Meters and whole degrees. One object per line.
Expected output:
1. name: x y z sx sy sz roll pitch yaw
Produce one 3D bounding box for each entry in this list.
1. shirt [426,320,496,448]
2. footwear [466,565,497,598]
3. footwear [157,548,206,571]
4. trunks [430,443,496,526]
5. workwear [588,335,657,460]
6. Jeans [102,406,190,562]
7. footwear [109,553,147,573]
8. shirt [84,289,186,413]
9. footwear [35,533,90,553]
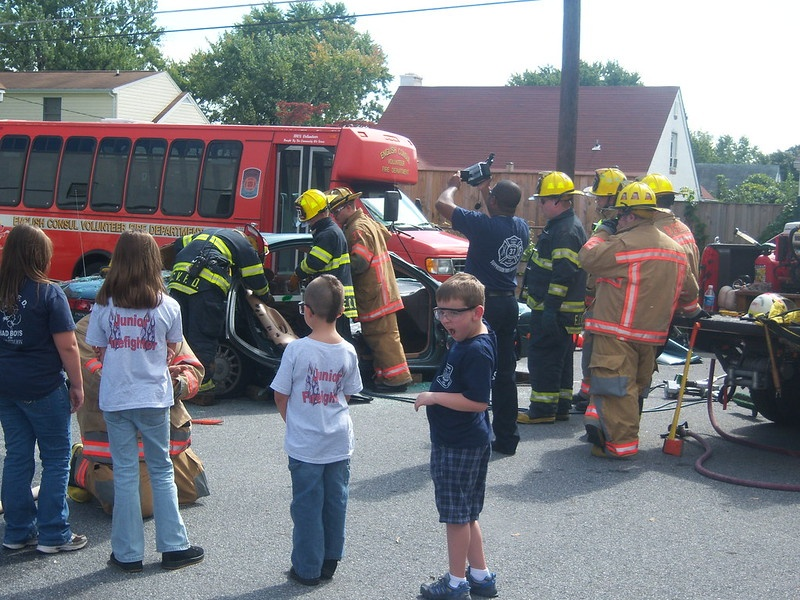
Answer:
1. shirt: 0.363 0.549 5.418 0.397 0.649 0.682 0 4 -14
2. footwear: 0.477 1.742 5.408 0.103 0.112 0.272 -5 7 -26
3. footwear: -1.392 1.635 5.585 0.260 0.096 0.106 -2 5 -44
4. trunks: 0.352 1.103 5.232 0.350 0.444 0.291 2 6 3
5. workwear: 1.983 0.716 7.845 0.468 1.402 0.761 7 0 35
6. Jeans: -1.629 1.121 5.573 0.517 1.104 0.309 -3 -1 4
7. footwear: -1.715 1.647 5.528 0.212 0.085 0.090 10 12 35
8. shirt: -1.711 0.328 5.631 0.633 0.732 0.277 1 7 -11
9. footwear: -2.205 1.563 5.740 0.318 0.140 0.119 -7 14 -36
